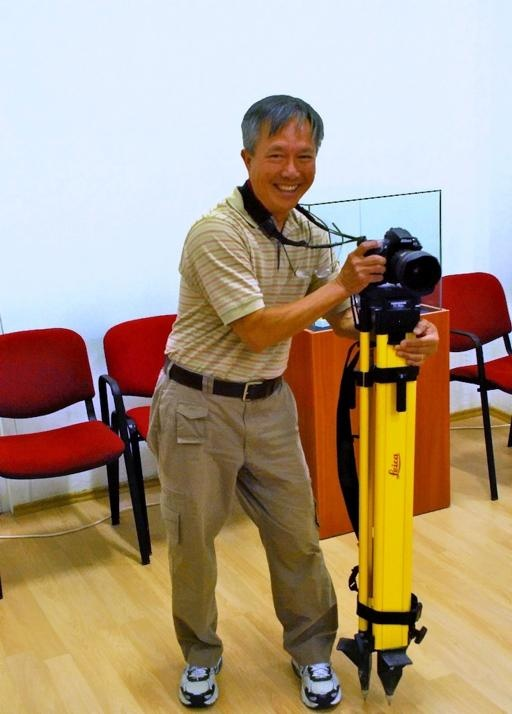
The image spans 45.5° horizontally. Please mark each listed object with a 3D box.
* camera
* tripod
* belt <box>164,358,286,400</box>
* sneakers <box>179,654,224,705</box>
[{"bbox_3d":[0.250,-0.158,1.047,0.121,0.121,0.089,-2,9,9],"label":"camera"},{"bbox_3d":[0.244,0.296,1.263,0.163,0.853,0.259,-7,10,-21],"label":"tripod"},{"bbox_3d":[-0.063,0.050,1.281,0.246,0.085,0.115,-4,8,-7],"label":"belt"},{"bbox_3d":[-0.142,0.791,1.486,0.055,0.060,0.135,1,-11,0],"label":"sneakers"}]
